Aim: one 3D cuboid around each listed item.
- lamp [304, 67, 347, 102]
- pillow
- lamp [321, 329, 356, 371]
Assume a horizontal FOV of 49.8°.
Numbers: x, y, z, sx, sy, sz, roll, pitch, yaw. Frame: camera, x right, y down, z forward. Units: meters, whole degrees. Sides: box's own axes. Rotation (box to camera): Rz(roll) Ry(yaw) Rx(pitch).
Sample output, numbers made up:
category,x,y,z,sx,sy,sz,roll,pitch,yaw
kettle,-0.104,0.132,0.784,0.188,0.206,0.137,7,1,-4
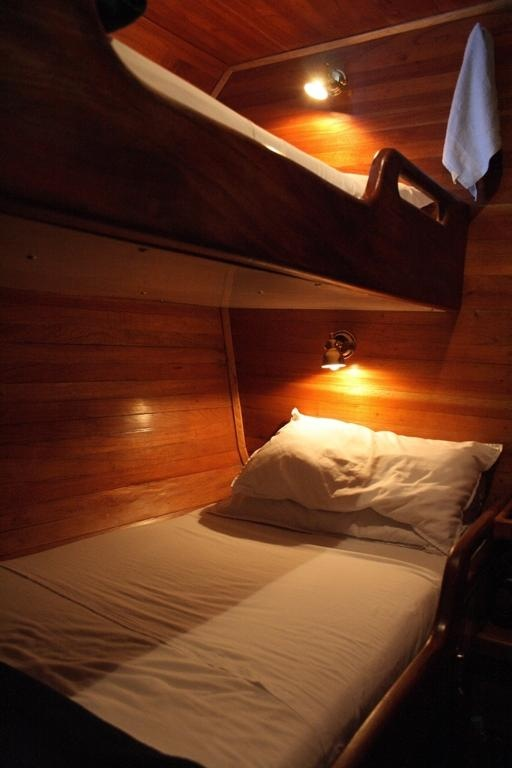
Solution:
category,x,y,z,sx,sy,sz,roll,pitch,yaw
lamp,0.266,-1.173,2.198,0.113,0.056,0.127,5,-8,-33
pillow,0.345,0.324,1.823,0.554,0.170,0.496,6,32,32
lamp,0.357,-0.144,2.339,0.132,0.189,0.123,-9,-25,35
